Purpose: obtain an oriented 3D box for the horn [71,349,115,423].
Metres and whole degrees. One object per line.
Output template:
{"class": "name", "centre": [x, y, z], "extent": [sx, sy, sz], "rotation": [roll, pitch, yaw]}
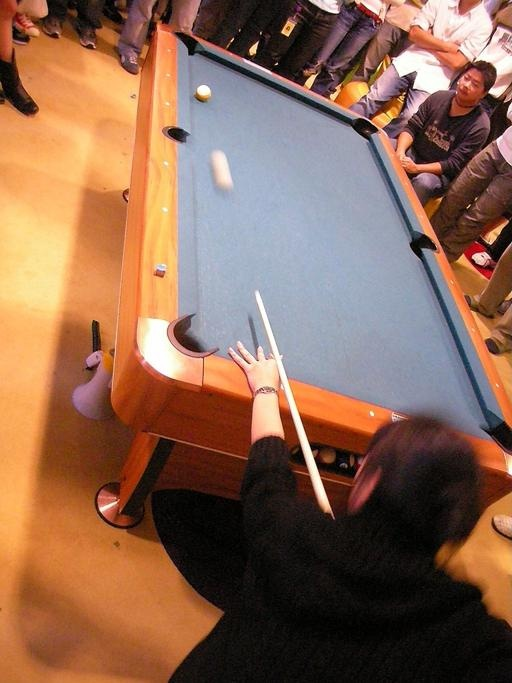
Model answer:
{"class": "horn", "centre": [-0.536, 0.133, 1.910], "extent": [0.153, 0.247, 0.159], "rotation": [23, 39, -8]}
